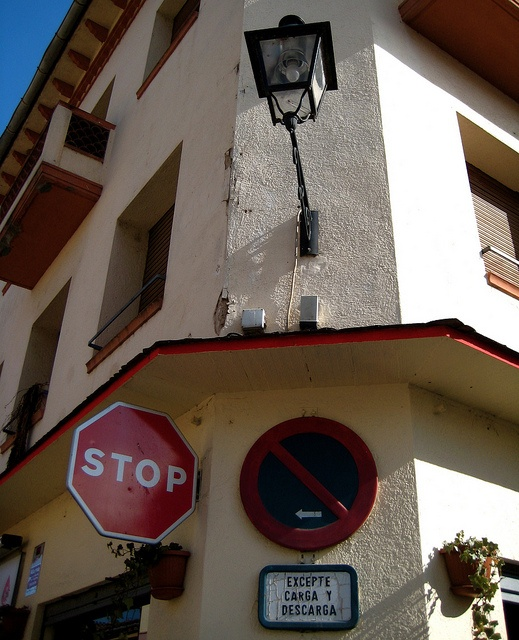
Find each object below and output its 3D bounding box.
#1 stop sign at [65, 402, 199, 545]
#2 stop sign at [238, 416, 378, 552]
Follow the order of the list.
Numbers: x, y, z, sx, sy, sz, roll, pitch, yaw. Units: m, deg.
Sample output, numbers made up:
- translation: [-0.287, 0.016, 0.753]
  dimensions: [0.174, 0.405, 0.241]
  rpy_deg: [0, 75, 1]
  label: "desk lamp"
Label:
- translation: [-0.766, 0.951, 3.799]
  dimensions: [0.952, 1.129, 0.096]
  rpy_deg: [23, -46, -36]
  label: "stop sign"
- translation: [0.340, 1.090, 3.837]
  dimensions: [0.743, 0.984, 0.071]
  rpy_deg: [-3, -43, 4]
  label: "stop sign"
